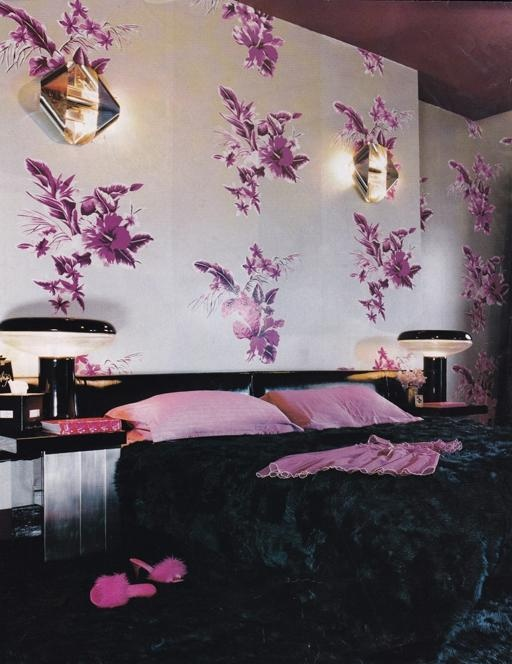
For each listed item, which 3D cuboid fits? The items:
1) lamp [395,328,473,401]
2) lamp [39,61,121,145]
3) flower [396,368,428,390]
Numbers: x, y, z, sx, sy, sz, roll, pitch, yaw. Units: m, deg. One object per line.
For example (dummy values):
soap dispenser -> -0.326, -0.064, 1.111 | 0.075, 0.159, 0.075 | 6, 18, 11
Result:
lamp -> 1.164, 0.223, 4.162 | 0.562, 0.479, 0.515 | -1, -3, 16
lamp -> -0.841, -1.126, 2.976 | 0.372, 0.122, 0.379 | 26, -23, -32
flower -> 0.999, 0.297, 3.972 | 0.154, 0.085, 0.120 | 6, -6, -9
